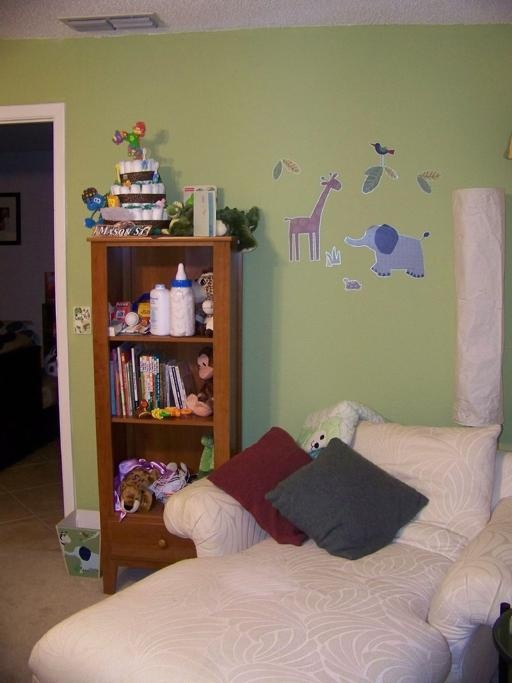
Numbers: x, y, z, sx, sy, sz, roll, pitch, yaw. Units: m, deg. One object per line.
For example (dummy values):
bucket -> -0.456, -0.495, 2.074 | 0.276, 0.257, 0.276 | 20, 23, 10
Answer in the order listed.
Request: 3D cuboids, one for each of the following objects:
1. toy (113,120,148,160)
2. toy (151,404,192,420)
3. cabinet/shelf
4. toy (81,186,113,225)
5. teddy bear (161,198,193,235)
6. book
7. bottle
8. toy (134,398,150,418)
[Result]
toy -> -0.501, -0.809, 2.446 | 0.128, 0.143, 0.174 | 1, 10, 4
toy -> -0.339, 0.284, 2.375 | 0.116, 0.043, 0.064 | -4, -18, 1
cabinet/shelf -> -0.376, 0.279, 2.437 | 0.586, 1.414, 0.366 | 0, 11, -7
toy -> -0.665, -0.558, 2.479 | 0.100, 0.176, 0.417 | -3, 10, -16
teddy bear -> -0.285, -0.475, 2.271 | 0.079, 0.143, 0.117 | 3, -3, -44
book -> -0.398, 0.140, 2.552 | 0.298, 0.381, 0.292 | 0, 4, 11
bottle -> -0.325, -0.158, 2.317 | 0.176, 0.273, 0.131 | -1, 10, -6
toy -> -0.450, 0.271, 2.393 | 0.049, 0.069, 0.073 | 3, -12, 1
